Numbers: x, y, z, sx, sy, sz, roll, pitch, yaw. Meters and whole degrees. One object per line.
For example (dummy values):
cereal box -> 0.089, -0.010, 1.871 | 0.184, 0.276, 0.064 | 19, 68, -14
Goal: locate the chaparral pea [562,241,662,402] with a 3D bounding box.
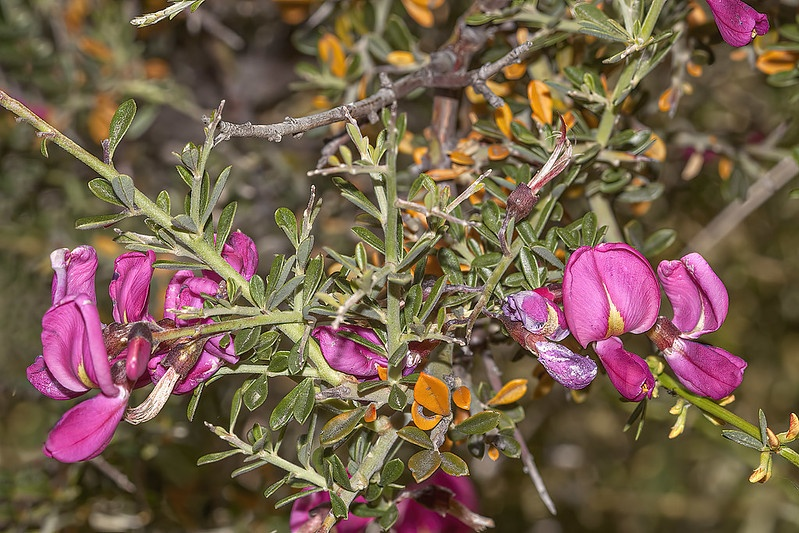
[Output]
chaparral pea -> 0.350, 0.090, 1.323 | 0.175, 0.098, 0.267 | -23, 90, -11

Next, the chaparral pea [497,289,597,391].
chaparral pea -> 0.239, 0.128, 1.314 | 0.119, 0.074, 0.186 | -41, 81, -9
